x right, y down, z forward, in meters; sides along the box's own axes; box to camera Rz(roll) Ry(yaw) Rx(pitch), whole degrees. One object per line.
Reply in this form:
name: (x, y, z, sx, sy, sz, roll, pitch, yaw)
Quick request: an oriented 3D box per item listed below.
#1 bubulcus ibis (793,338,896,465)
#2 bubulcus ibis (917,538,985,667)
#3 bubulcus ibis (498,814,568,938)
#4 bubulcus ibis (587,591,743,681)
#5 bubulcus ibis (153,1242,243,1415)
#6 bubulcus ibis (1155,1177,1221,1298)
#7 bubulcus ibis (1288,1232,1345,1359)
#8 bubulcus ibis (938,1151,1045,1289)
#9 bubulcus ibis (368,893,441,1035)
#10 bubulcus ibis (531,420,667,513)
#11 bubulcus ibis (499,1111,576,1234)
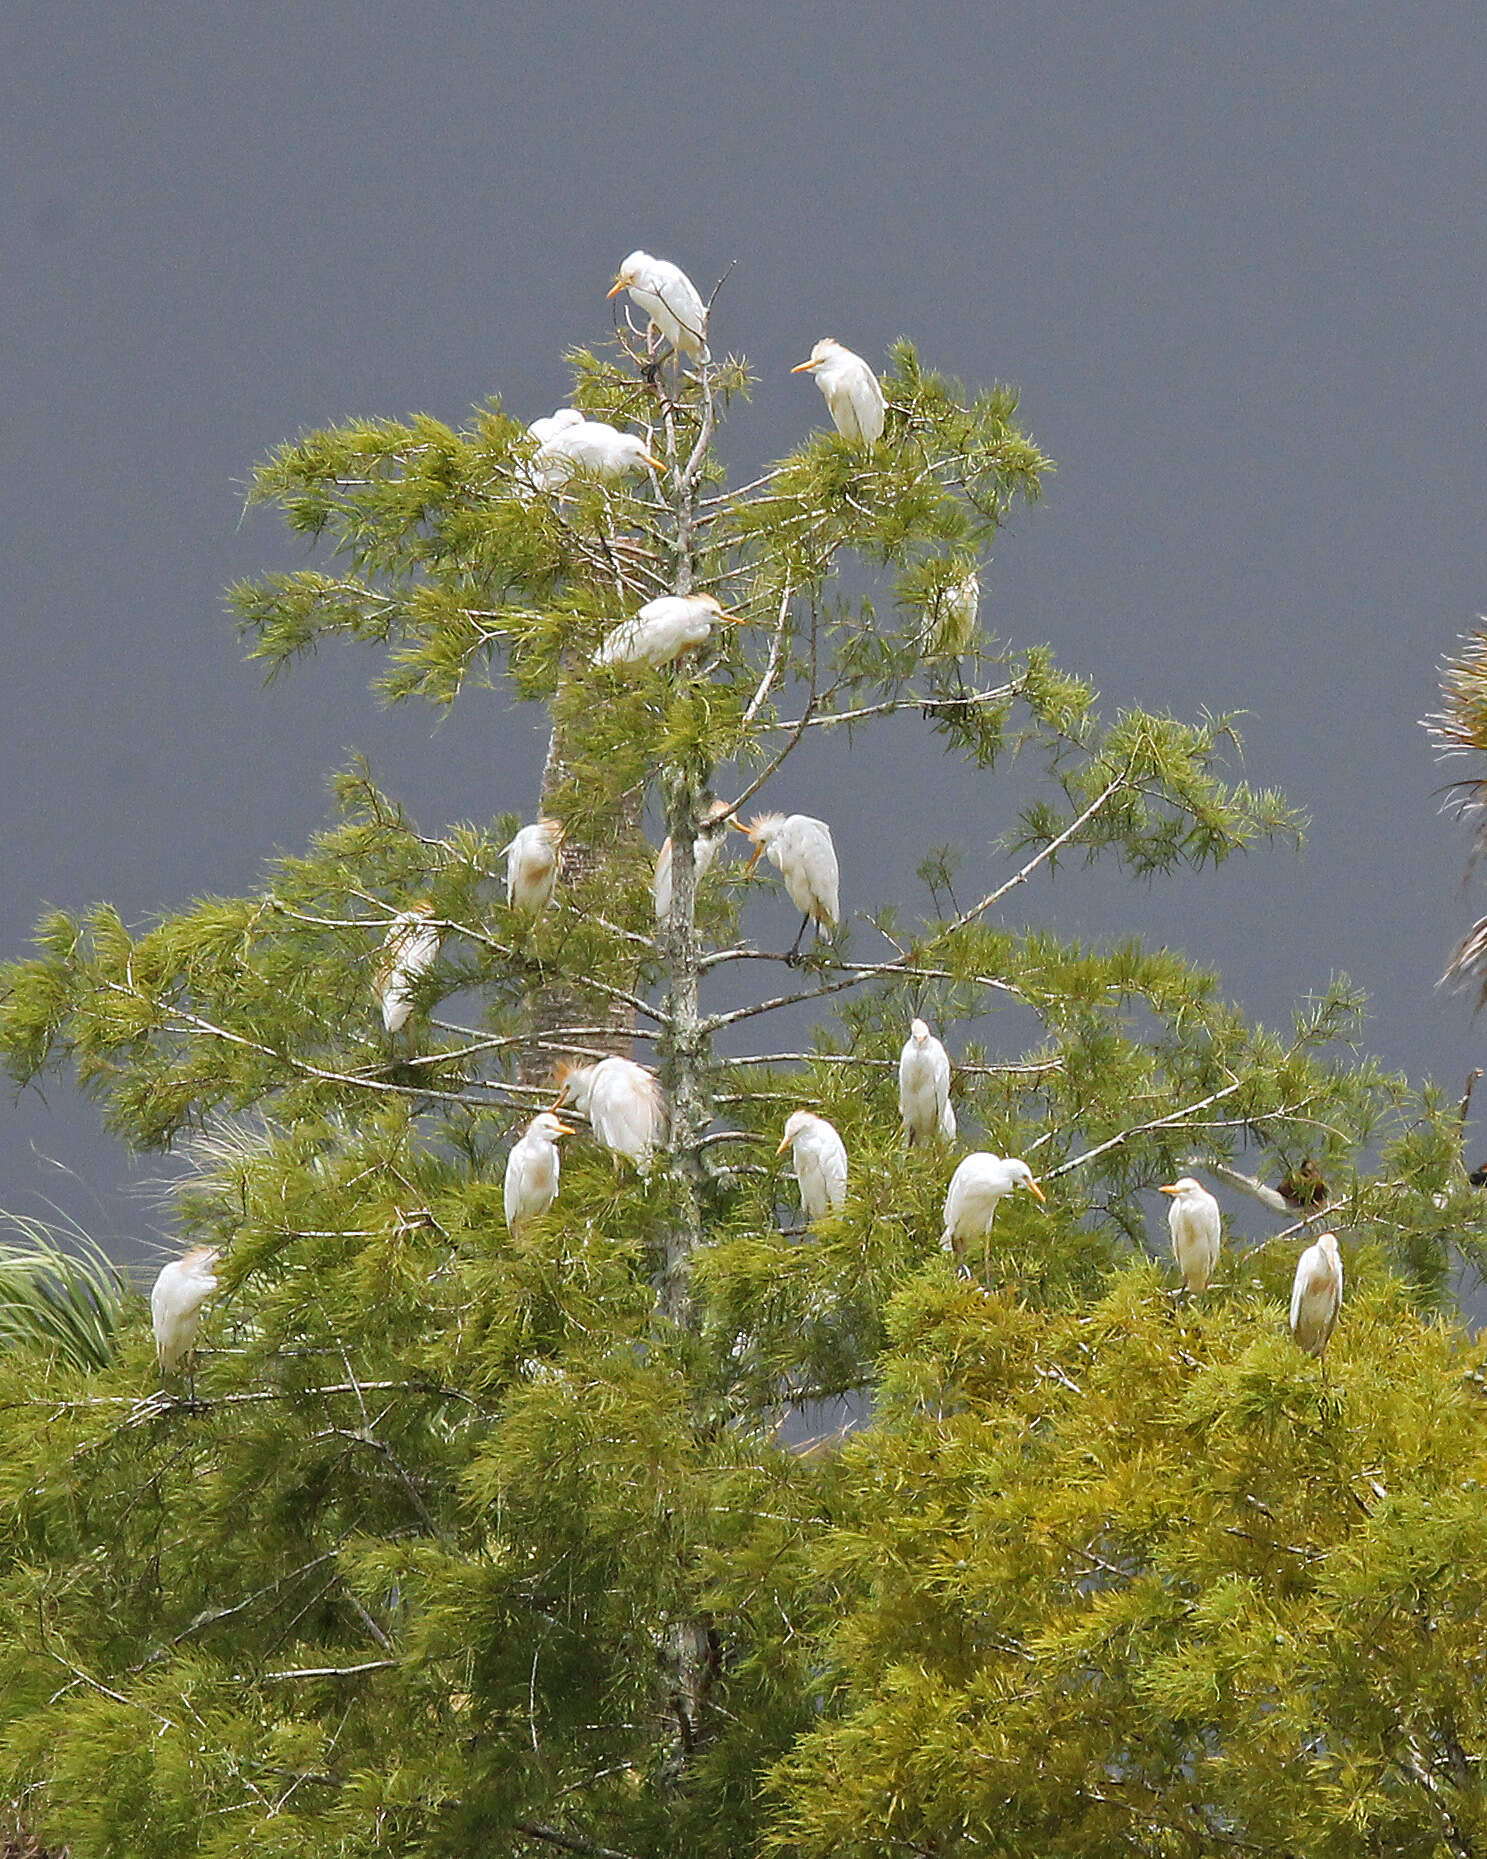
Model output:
bubulcus ibis: (0.289, -1.488, 12.140, 0.236, 0.311, 0.507, 5, 0, 1)
bubulcus ibis: (0.585, -0.902, 12.258, 0.169, 0.281, 0.363, 5, 0, 3)
bubulcus ibis: (-0.579, -0.172, 12.083, 0.155, 0.270, 0.383, 5, 0, -4)
bubulcus ibis: (-0.218, -0.824, 11.829, 0.468, 0.219, 0.162, -12, 16, -13)
bubulcus ibis: (-1.436, 1.015, 11.406, 0.161, 0.388, 0.118, -2, 13, 2)
bubulcus ibis: (1.133, 0.774, 11.034, 0.138, 0.287, 0.228, 5, 0, 3)
bubulcus ibis: (1.389, 0.862, 10.345, 0.088, 0.324, 0.198, 2, 14, 17)
bubulcus ibis: (0.632, 0.761, 11.226, 0.141, 0.350, 0.299, -21, 44, -30)
bubulcus ibis: (-0.920, 0.089, 12.100, 0.129, 0.409, 0.151, 4, 8, -7)
bubulcus ibis: (-0.434, -1.305, 12.233, 0.456, 0.201, 0.159, 17, 16, 4)
bubulcus ibis: (-0.534, 0.635, 11.354, 0.159, 0.302, 0.364, 5, 0, -2)
